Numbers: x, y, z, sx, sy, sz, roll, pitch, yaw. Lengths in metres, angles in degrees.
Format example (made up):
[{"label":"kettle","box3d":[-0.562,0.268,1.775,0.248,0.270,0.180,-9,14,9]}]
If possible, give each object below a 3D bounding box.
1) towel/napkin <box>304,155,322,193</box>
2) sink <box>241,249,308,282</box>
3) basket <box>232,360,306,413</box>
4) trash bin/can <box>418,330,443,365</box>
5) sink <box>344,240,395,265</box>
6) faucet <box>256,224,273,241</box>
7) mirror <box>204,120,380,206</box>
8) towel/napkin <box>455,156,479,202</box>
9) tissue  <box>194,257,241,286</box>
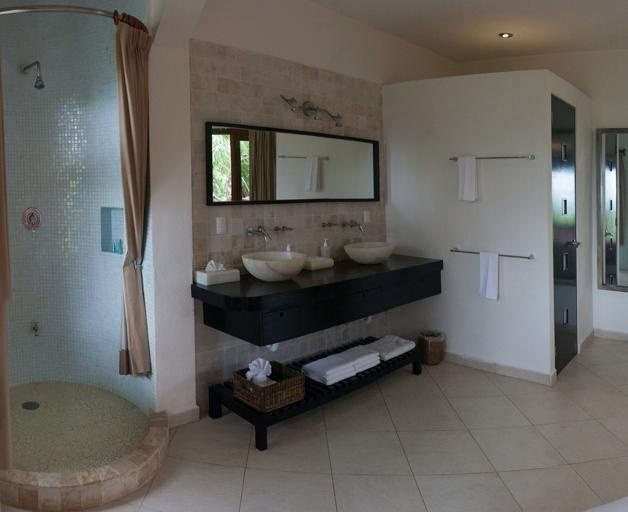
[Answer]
[{"label":"towel/napkin","box3d":[-0.024,-0.626,4.076,0.037,0.236,0.112,11,6,-19]},{"label":"sink","box3d":[-0.287,0.071,3.572,0.422,0.191,0.479,-1,13,-7]},{"label":"basket","box3d":[-0.299,0.866,3.397,0.413,0.181,0.395,-10,17,-40]},{"label":"trash bin/can","box3d":[1.068,0.797,4.537,0.247,0.274,0.245,-8,18,-10]},{"label":"sink","box3d":[0.467,-0.038,4.247,0.386,0.179,0.458,3,13,7]},{"label":"faucet","box3d":[-0.375,-0.178,3.797,0.104,0.112,0.136,1,12,0]},{"label":"mirror","box3d":[-0.111,-0.710,3.980,1.673,0.629,0.072,-10,15,-39]},{"label":"towel/napkin","box3d":[1.292,-0.644,4.219,0.195,0.379,0.096,7,13,26]},{"label":"tissue ","box3d":[-0.670,0.104,3.478,0.288,0.152,0.176,-7,15,-33]}]
